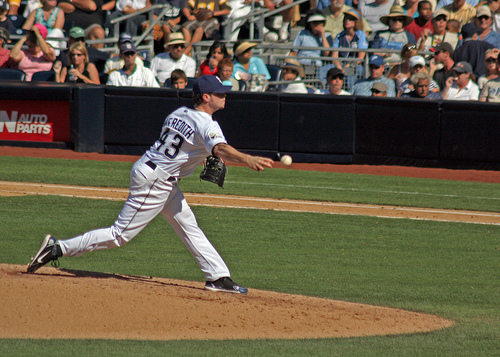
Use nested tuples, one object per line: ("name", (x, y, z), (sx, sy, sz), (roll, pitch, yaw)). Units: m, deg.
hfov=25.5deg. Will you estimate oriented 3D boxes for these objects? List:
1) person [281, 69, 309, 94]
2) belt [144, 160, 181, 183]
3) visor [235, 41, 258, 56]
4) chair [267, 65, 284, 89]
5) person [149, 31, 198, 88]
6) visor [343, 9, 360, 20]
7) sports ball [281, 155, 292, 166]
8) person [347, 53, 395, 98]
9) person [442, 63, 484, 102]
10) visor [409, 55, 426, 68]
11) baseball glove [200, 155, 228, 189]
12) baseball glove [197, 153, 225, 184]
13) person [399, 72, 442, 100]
("person", (0.936, -2.032, 23.009), (0.542, 0.516, 1.221), (1, 2, -2))
("belt", (-1.275, -0.151, 15.821), (0.359, 0.141, 0.276), (35, -4, 4))
("visor", (-0.113, -2.611, 22.325), (0.290, 0.087, 0.294), (-34, 1, 12))
("chair", (0.520, -2.169, 23.216), (0.390, 0.539, 0.425), (2, 2, 16))
("person", (-1.672, -2.535, 23.086), (1.023, 1.072, 0.610), (4, 1, 9))
("visor", (2.229, -3.629, 24.040), (0.271, 0.073, 0.268), (8, 12, -44))
("sports ball", (0.536, -0.260, 15.778), (0.129, 0.131, 0.129), (-18, 37, 14))
("person", (2.529, -2.132, 22.903), (0.902, 0.639, 0.449), (9, -12, 21))
("person", (4.187, -1.924, 21.909), (0.578, 0.477, 0.949), (-3, 28, 21))
("visor", (3.323, -2.359, 21.987), (0.304, 0.257, 0.357), (0, 2, -29))
("baseball glove", (-0.507, -0.210, 15.921), (0.351, 0.474, 0.425), (17, 36, -4))
("baseball glove", (-0.517, -0.142, 15.796), (0.422, 0.370, 0.442), (10, 31, -11))
("person", (3.382, -1.781, 21.917), (0.890, 0.713, 0.439), (0, 23, 8))
